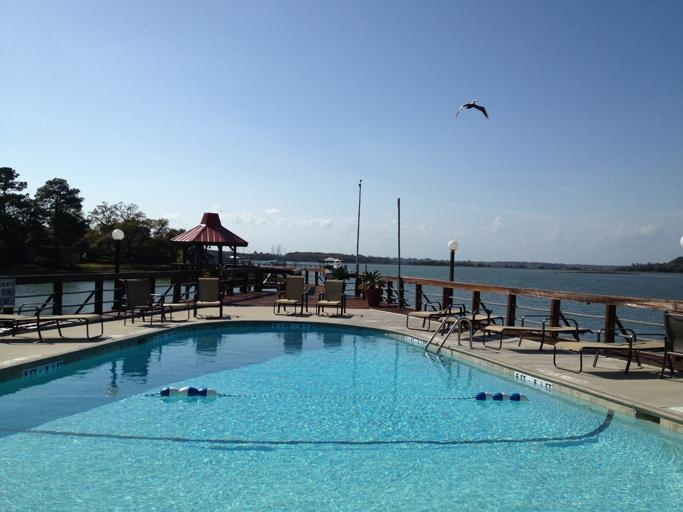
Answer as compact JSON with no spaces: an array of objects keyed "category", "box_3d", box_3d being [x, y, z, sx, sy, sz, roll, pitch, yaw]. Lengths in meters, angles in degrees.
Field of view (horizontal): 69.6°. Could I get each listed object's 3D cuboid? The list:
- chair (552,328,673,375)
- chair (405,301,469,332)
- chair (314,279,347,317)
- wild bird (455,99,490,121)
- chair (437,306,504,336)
[{"category":"chair","box_3d":[4.822,1.731,8.569,1.461,0.462,0.744,11,7,5]},{"category":"chair","box_3d":[2.542,1.534,12.679,1.490,0.617,0.909,1,-4,-30]},{"category":"chair","box_3d":[-0.307,1.310,15.487,0.842,1.102,1.807,1,-4,-1]},{"category":"wild bird","box_3d":[3.894,-4.402,14.573,0.842,0.653,0.930,0,-5,8]},{"category":"chair","box_3d":[3.070,1.504,11.567,1.538,0.517,0.983,0,-1,-27]}]
